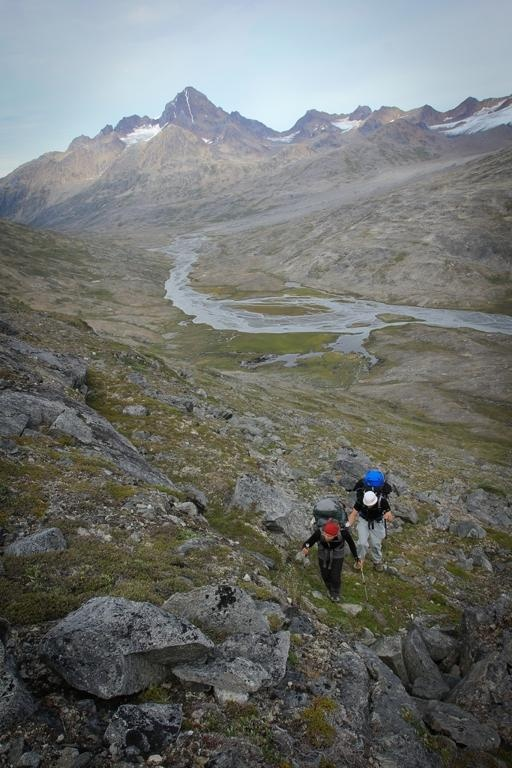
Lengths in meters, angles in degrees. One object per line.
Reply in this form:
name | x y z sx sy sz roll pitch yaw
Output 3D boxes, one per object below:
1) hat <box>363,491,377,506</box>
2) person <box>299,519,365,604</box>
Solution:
hat | 4.197 4.259 20.346 0.491 0.734 0.555 2 13 11
person | 2.629 6.153 19.497 1.422 3.414 0.958 1 13 10
